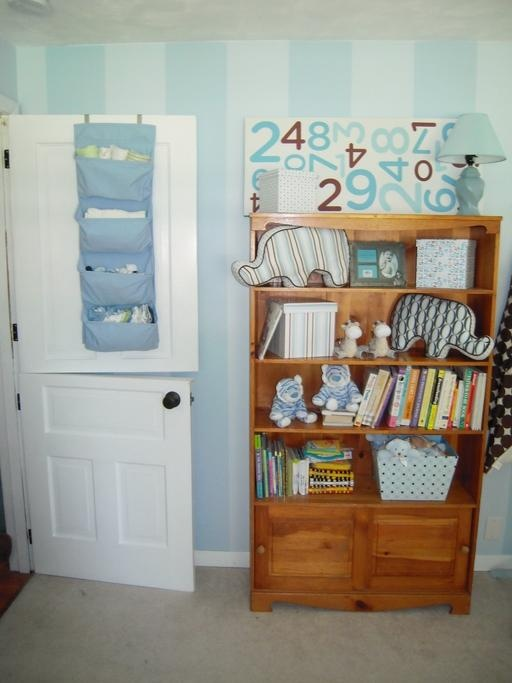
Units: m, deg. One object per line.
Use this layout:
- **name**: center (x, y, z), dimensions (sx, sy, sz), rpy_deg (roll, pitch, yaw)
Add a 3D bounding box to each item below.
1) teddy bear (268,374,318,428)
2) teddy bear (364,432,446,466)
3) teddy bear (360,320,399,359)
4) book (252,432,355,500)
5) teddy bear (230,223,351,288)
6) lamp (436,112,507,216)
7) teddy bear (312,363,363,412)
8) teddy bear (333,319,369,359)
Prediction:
- **teddy bear**: center (0.159, 0.237, 2.432), dimensions (0.186, 0.186, 0.180), rpy_deg (1, 15, 3)
- **teddy bear**: center (0.626, 0.424, 2.450), dimensions (0.151, 0.087, 0.147), rpy_deg (2, 2, -5)
- **teddy bear**: center (0.478, 0.008, 2.393), dimensions (0.187, 0.162, 0.136), rpy_deg (1, -1, -8)
- **book**: center (0.202, 0.508, 2.476), dimensions (0.355, 0.113, 0.259), rpy_deg (-1, 5, -8)
- **teddy bear**: center (0.151, -0.313, 2.234), dimensions (0.321, 0.159, 0.063), rpy_deg (-2, 26, -6)
- **lamp**: center (0.831, -0.679, 2.346), dimensions (0.234, 0.372, 0.300), rpy_deg (4, 13, 15)
- **teddy bear**: center (0.326, 0.185, 2.427), dimensions (0.195, 0.193, 0.123), rpy_deg (-1, 23, 6)
- **teddy bear**: center (0.362, -0.006, 2.399), dimensions (0.112, 0.156, 0.160), rpy_deg (3, -2, -3)
